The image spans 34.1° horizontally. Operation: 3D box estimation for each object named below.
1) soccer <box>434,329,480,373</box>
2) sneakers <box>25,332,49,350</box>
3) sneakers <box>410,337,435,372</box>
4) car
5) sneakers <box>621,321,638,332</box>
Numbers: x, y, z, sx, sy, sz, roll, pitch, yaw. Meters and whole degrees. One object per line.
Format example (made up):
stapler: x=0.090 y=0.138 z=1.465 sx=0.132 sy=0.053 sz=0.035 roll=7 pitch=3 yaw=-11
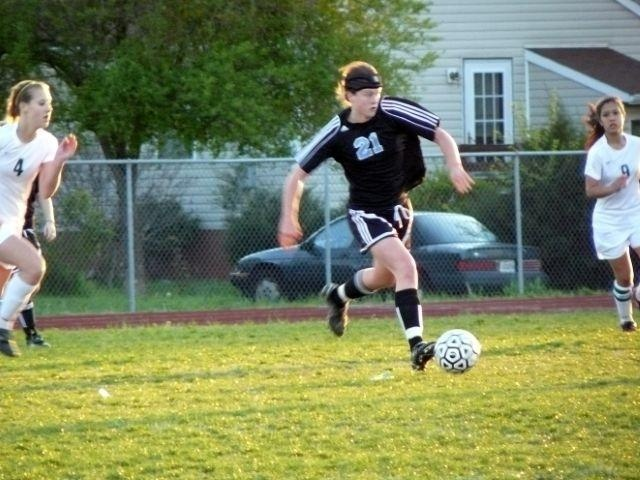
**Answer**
soccer: x=1.341 y=1.125 z=10.606 sx=0.489 sy=0.431 sz=0.422 roll=-14 pitch=-29 yaw=-1
sneakers: x=-3.529 y=1.272 z=13.265 sx=0.434 sy=0.263 sz=0.134 roll=1 pitch=-2 yaw=2
sneakers: x=1.084 y=1.161 z=10.623 sx=0.221 sy=0.276 sz=0.134 roll=27 pitch=7 yaw=39
car: x=1.082 y=0.354 z=16.795 sx=4.271 sy=1.164 sz=1.735 roll=1 pitch=0 yaw=7
sneakers: x=3.828 y=1.067 z=12.920 sx=0.166 sy=0.125 sz=0.118 roll=-2 pitch=5 yaw=-5
